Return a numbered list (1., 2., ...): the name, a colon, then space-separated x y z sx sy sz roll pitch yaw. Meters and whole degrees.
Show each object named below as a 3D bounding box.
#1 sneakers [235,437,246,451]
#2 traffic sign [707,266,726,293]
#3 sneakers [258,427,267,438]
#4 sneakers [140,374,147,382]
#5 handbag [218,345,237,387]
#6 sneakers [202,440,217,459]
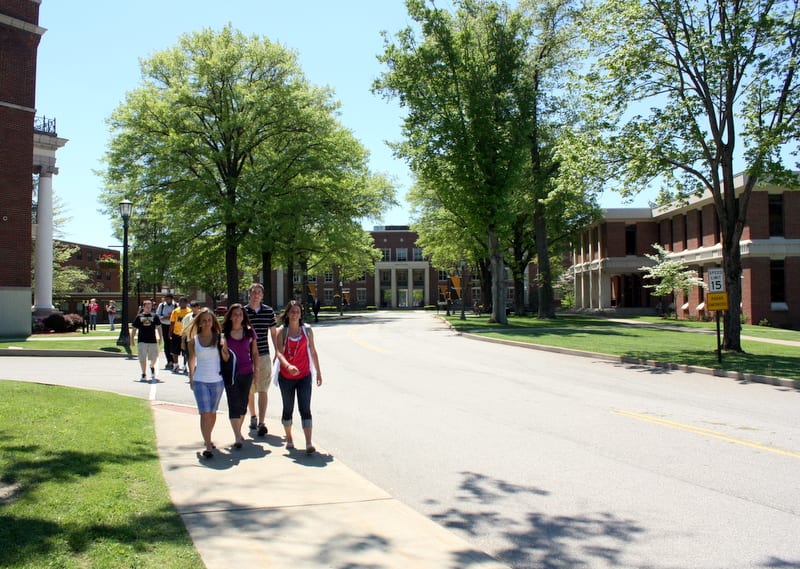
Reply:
1. sneakers: -2.871 2.865 12.358 0.149 0.138 0.436 -1 -10 -12
2. traffic sign: 9.807 -0.108 21.434 0.447 0.692 0.983 2 3 27
3. sneakers: -2.621 2.810 13.146 0.154 0.185 0.184 0 -9 -9
4. sneakers: -6.944 2.552 18.676 0.140 0.218 0.305 2 -5 -31
5. handbag: -3.064 1.518 12.336 0.178 0.558 0.389 -4 -3 42
6. sneakers: -3.309 2.860 11.931 0.122 0.166 0.377 2 -4 -8
